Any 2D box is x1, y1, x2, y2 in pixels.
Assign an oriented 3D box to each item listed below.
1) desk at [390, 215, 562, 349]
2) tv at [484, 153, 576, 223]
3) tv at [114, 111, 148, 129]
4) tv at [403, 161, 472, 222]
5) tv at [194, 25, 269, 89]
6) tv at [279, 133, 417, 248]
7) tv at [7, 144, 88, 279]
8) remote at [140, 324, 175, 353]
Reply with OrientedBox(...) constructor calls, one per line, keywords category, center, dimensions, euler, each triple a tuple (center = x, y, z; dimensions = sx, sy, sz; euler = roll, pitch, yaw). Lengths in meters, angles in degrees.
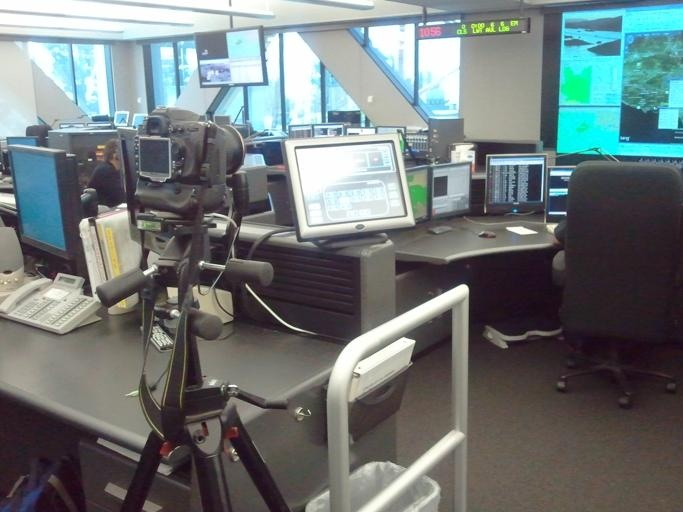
OrientedBox(category="desk", center=(0.981, 0.116, 4.026), dimensions=(0.859, 0.682, 1.278), euler=(6, 16, 33))
OrientedBox(category="tv", center=(1.353, -0.546, 4.232), dimensions=(0.680, 0.478, 0.463), euler=(-7, 15, -26))
OrientedBox(category="tv", center=(-4.167, -2.680, 11.221), dimensions=(0.488, 0.222, 2.528), euler=(-12, 20, -20))
OrientedBox(category="tv", center=(0.634, -0.428, 3.776), dimensions=(0.475, 0.284, 0.047), euler=(-14, 16, -38))
OrientedBox(category="tv", center=(-1.628, -2.940, 8.543), dimensions=(1.253, 0.831, 0.098), euler=(8, 24, 30))
OrientedBox(category="tv", center=(0.024, -0.266, 2.389), dimensions=(0.645, 0.538, 0.237), euler=(-7, 8, -18))
OrientedBox(category="tv", center=(-1.238, -0.165, 2.418), dimensions=(0.512, 0.565, 0.172), euler=(14, 22, 40))
OrientedBox(category="remote", center=(-0.601, 0.271, 1.895), dimensions=(0.083, 0.035, 0.145), euler=(-15, 41, -40))
